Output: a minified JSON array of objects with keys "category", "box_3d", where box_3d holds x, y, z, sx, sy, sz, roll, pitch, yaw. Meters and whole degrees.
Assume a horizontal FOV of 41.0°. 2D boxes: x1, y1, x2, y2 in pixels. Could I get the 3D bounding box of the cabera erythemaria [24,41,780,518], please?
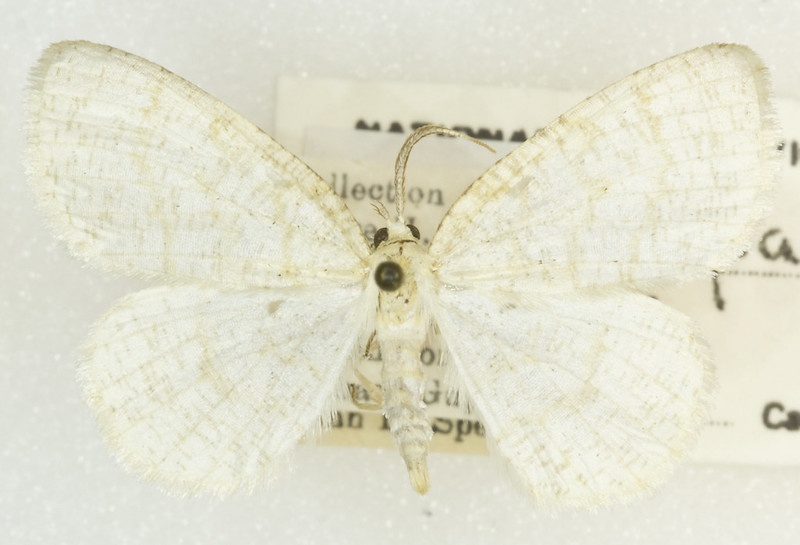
[{"category":"cabera erythemaria","box_3d":[-0.042,-0.040,2.888,1.989,0.310,1.435,10,84,3]}]
